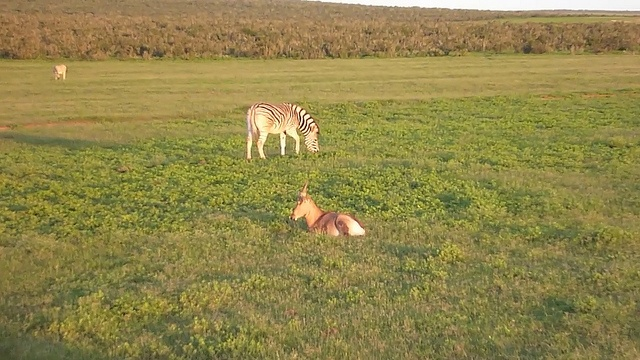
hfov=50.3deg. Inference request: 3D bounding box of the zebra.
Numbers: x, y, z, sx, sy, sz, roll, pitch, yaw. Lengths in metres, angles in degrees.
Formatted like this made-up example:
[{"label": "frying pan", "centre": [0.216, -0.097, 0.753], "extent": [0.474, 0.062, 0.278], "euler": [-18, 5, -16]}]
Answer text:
[{"label": "zebra", "centre": [-3.166, -3.975, 54.202], "extent": [5.539, 4.093, 2.128], "euler": [-6, 23, -19]}]
